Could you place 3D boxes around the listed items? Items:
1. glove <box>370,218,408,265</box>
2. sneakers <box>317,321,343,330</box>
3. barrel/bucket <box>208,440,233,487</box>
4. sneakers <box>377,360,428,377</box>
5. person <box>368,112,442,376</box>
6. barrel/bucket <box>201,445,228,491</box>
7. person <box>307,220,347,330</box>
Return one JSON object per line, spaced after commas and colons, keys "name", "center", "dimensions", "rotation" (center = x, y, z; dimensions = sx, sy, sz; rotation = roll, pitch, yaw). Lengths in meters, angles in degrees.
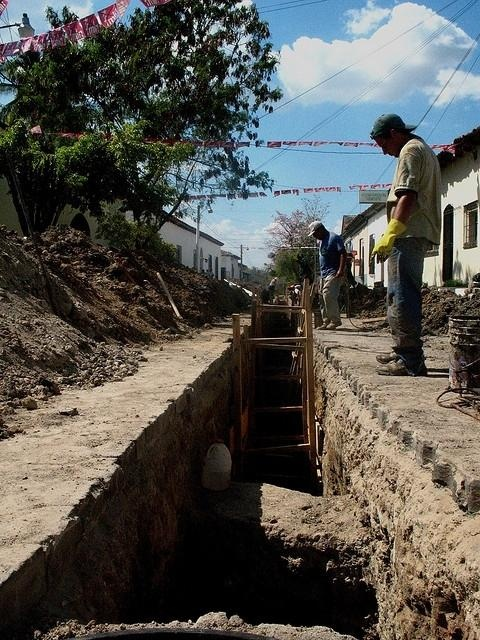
{"name": "glove", "center": [0.928, -0.536, 3.286], "dimensions": [0.198, 0.262, 0.351], "rotation": [-1, 4, 17]}
{"name": "sneakers", "center": [1.466, 0.111, 8.765], "dimensions": [0.392, 0.204, 0.148], "rotation": [5, 2, -1]}
{"name": "barrel/bucket", "center": [-0.200, 1.194, 4.030], "dimensions": [0.179, 0.324, 0.269], "rotation": [-2, 4, -5]}
{"name": "sneakers", "center": [1.142, 0.378, 3.761], "dimensions": [0.353, 0.185, 0.149], "rotation": [3, 5, 14]}
{"name": "person", "center": [1.089, -0.394, 3.429], "dimensions": [0.429, 1.695, 0.709], "rotation": [0, 4, 19]}
{"name": "barrel/bucket", "center": [-0.203, 1.199, 4.044], "dimensions": [0.256, 0.350, 0.270], "rotation": [3, -3, 0]}
{"name": "person", "center": [1.349, -0.727, 8.222], "dimensions": [0.524, 1.883, 1.153], "rotation": [-1, 4, 8]}
